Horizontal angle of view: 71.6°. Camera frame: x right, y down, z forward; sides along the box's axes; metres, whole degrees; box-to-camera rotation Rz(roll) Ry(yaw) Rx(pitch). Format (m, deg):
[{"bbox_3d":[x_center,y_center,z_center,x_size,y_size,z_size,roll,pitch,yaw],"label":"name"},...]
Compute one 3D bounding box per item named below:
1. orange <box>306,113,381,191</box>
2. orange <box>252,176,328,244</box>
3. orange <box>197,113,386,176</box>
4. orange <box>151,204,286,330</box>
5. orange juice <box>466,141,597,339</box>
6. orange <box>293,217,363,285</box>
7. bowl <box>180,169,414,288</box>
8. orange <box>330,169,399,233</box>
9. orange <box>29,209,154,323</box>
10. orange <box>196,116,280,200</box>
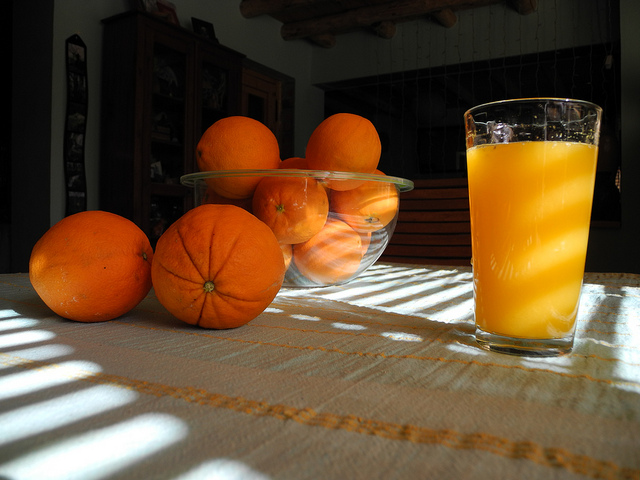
[{"bbox_3d":[0.034,-0.136,0.632,0.107,0.088,0.070,0,4,-3],"label":"orange"},{"bbox_3d":[-0.037,-0.047,0.643,0.095,0.089,0.082,-1,9,20],"label":"orange"},{"bbox_3d":[-0.032,-0.101,0.624,0.239,0.100,0.108,2,-10,5],"label":"orange"},{"bbox_3d":[-0.098,0.025,0.506,0.119,0.126,0.126,6,19,11],"label":"orange"},{"bbox_3d":[0.211,0.003,0.446,0.092,0.178,0.119,1,3,32],"label":"orange juice"},{"bbox_3d":[0.014,0.007,0.703,0.092,0.102,0.090,2,10,12],"label":"orange"},{"bbox_3d":[-0.015,-0.012,0.770,0.346,0.180,0.363,0,1,0],"label":"bowl"},{"bbox_3d":[0.067,-0.045,0.662,0.083,0.076,0.093,6,-8,-41],"label":"orange"},{"bbox_3d":[-0.263,0.022,0.555,0.132,0.133,0.144,15,9,42],"label":"orange"},{"bbox_3d":[-0.116,-0.117,0.624,0.119,0.120,0.078,-1,4,-9],"label":"orange"}]
